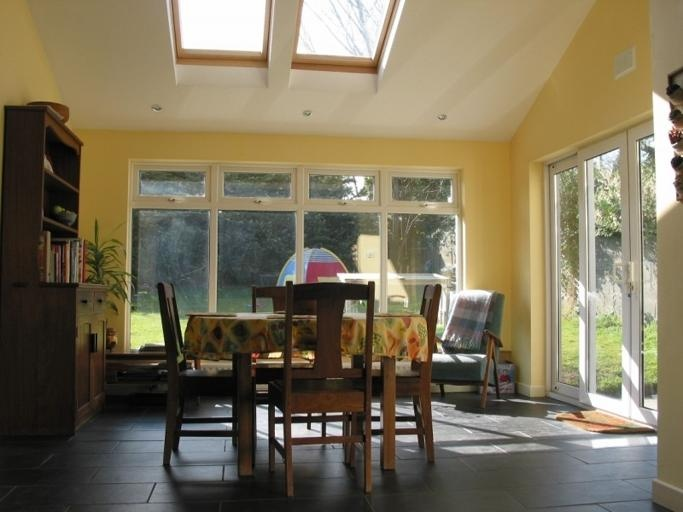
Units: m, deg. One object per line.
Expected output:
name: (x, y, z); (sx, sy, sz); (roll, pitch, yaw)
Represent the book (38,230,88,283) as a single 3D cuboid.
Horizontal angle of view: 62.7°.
book: (-2.415, 0.048, 4.823); (0.387, 0.596, 0.581); (2, -2, -21)
